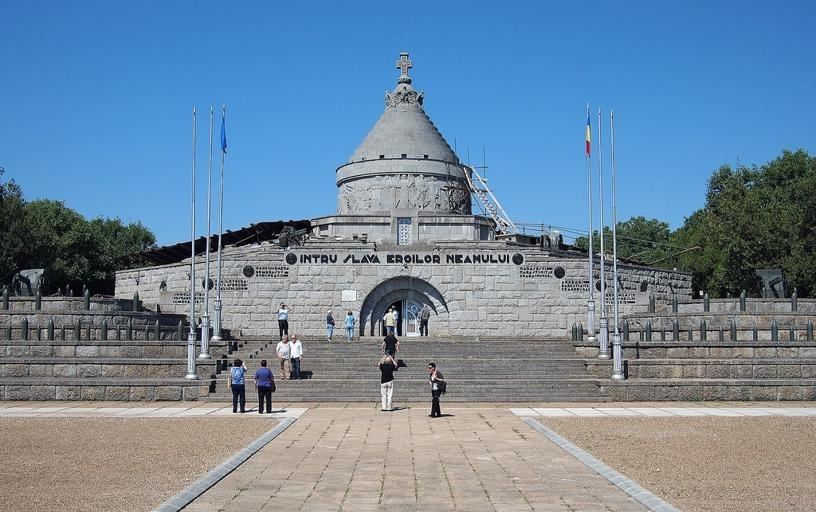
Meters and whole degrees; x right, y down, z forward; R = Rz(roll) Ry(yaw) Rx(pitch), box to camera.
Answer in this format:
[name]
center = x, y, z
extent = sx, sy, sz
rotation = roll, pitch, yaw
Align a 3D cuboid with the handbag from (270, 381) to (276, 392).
[handbag]
center = -5.482, 5.231, 41.933
extent = 0.097, 0.330, 0.360
rotation = -3, -6, 14
